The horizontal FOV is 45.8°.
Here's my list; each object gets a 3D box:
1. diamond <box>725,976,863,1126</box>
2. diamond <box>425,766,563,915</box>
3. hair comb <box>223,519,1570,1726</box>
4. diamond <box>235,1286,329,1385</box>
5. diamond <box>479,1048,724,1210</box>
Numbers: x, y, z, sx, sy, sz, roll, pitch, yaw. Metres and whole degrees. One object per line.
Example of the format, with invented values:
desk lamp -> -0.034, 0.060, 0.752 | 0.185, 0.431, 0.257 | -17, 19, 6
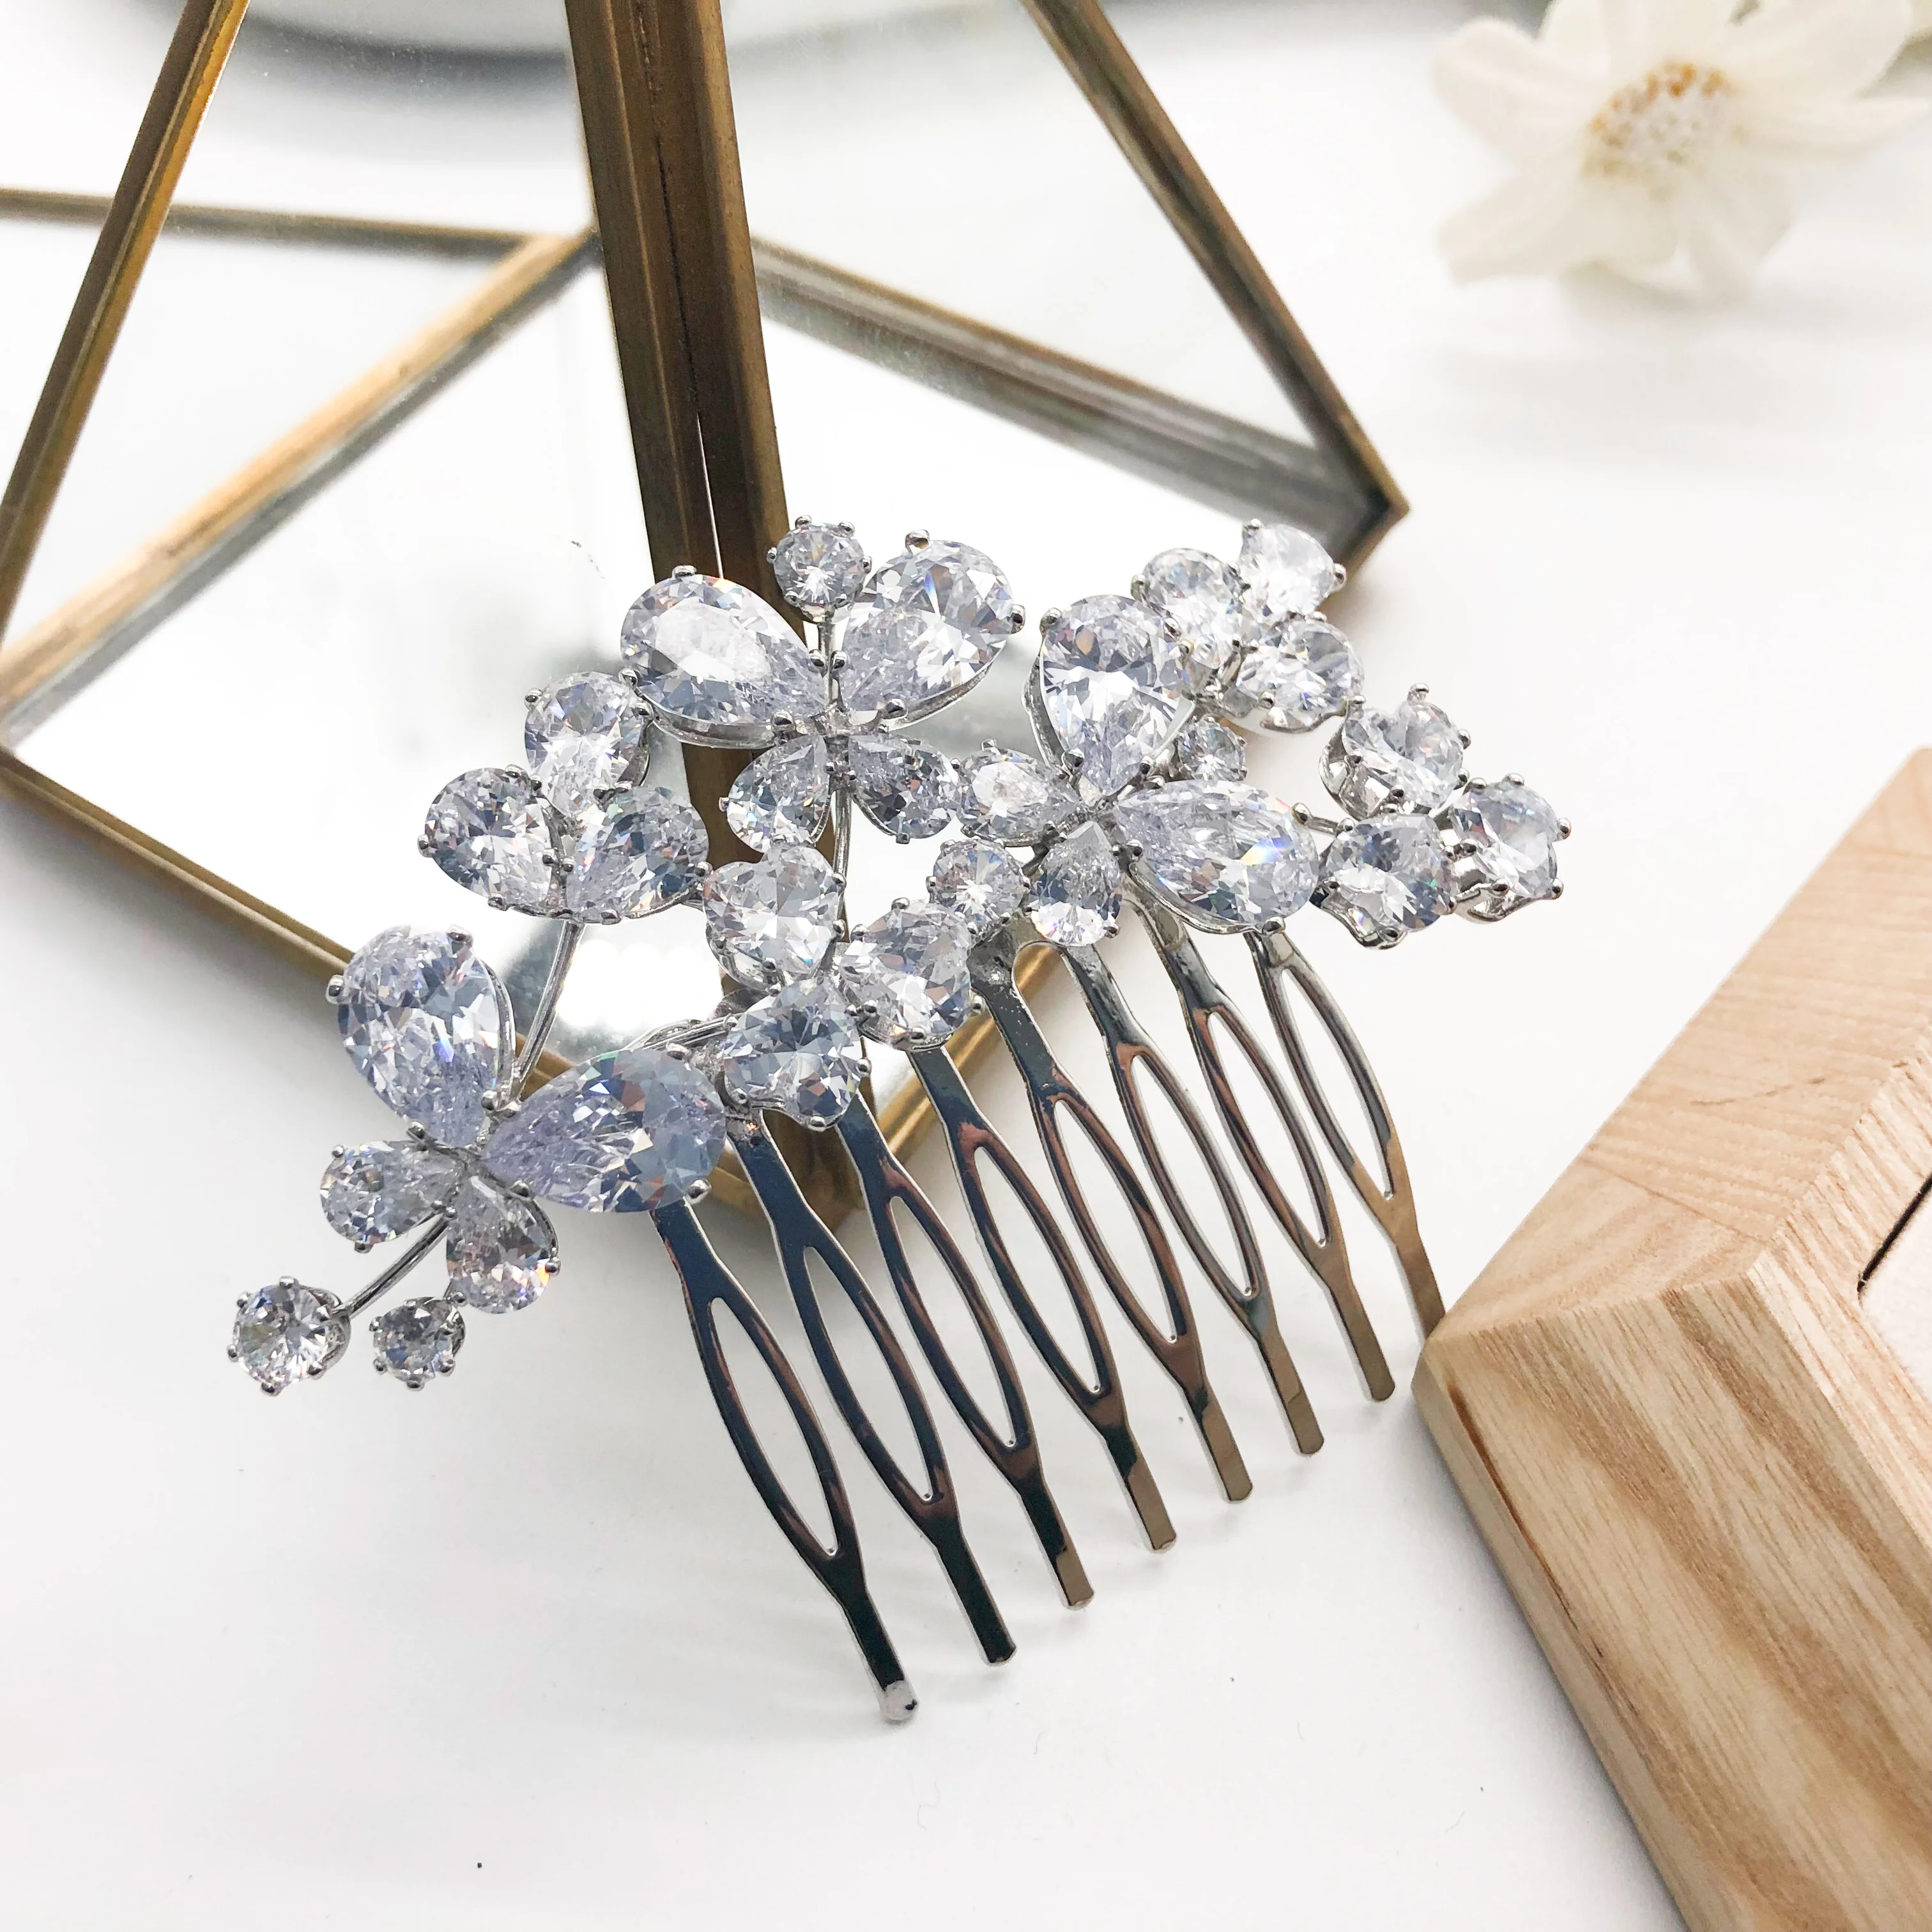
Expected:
diamond -> -0.068, 0.035, 0.889 | 0.057, 0.045, 0.039 | -15, -25, -7
diamond -> -0.182, -0.050, 0.896 | 0.049, 0.058, 0.023 | -40, -1, -14
hair comb -> -0.028, 0.066, 0.973 | 0.548, 0.412, 0.325 | -6, -27, -25
diamond -> -0.265, 0.141, 0.889 | 0.036, 0.040, 0.020 | -4, -1, 5
diamond -> -0.139, 0.065, 0.878 | 0.093, 0.048, 0.046 | -16, -25, -6
